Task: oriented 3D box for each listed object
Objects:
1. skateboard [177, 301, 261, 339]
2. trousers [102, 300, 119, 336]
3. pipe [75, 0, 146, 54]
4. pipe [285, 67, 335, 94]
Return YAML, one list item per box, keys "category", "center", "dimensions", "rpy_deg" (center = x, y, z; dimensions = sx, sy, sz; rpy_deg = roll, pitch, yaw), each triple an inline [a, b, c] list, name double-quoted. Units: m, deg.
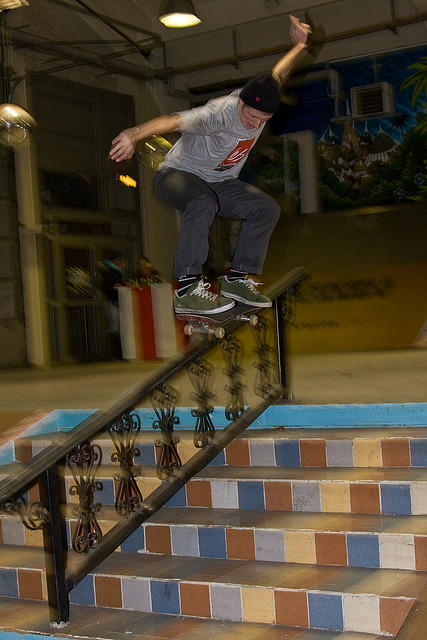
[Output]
- category: "skateboard"
  center: [0.050, 0.001, 3.720]
  dimensions: [0.277, 0.170, 0.457]
  rpy_deg: [-3, 1, 39]
- category: "trousers"
  center: [-1.306, -0.021, 9.683]
  dimensions: [0.142, 0.445, 0.655]
  rpy_deg: [-5, 1, -13]
- category: "pipe"
  center: [-1.389, -3.889, 9.981]
  dimensions: [1.280, 0.168, 0.221]
  rpy_deg: [37, 4, -24]
- category: "pipe"
  center: [1.482, -3.465, 11.153]
  dimensions: [0.799, 0.356, 0.164]
  rpy_deg: [-3, 2, 42]
